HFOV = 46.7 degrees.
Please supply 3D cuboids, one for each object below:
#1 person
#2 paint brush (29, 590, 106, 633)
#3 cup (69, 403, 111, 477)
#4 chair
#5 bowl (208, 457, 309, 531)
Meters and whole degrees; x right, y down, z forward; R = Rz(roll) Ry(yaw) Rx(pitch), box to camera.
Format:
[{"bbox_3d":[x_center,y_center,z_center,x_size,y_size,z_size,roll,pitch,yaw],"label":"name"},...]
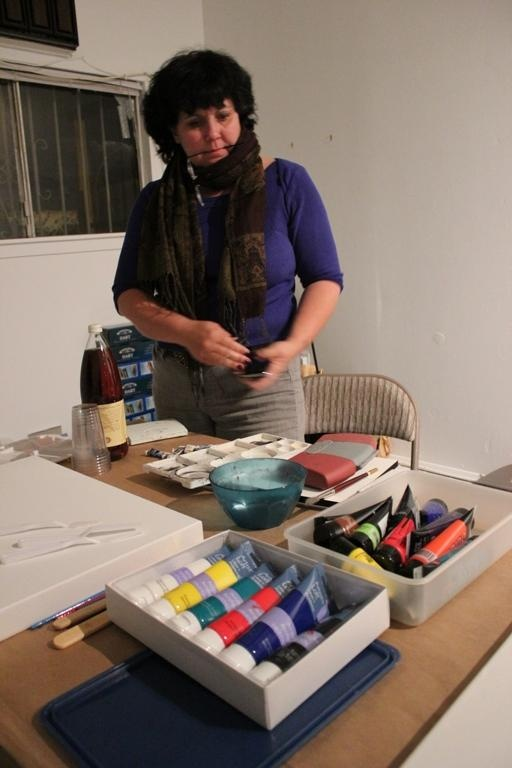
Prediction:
[{"bbox_3d":[-0.056,-0.302,1.367,0.409,0.867,0.587,-16,20,-38],"label":"person"},{"bbox_3d":[-0.195,0.239,0.623,0.085,0.008,0.022,-17,21,-41],"label":"paint brush"},{"bbox_3d":[-0.286,0.095,1.030,0.072,0.128,0.050,-14,19,-34],"label":"cup"},{"bbox_3d":[0.272,0.100,1.757,0.263,0.403,0.290,-1,3,12],"label":"chair"},{"bbox_3d":[0.005,0.154,0.798,0.123,0.065,0.119,-2,8,0],"label":"bowl"}]
